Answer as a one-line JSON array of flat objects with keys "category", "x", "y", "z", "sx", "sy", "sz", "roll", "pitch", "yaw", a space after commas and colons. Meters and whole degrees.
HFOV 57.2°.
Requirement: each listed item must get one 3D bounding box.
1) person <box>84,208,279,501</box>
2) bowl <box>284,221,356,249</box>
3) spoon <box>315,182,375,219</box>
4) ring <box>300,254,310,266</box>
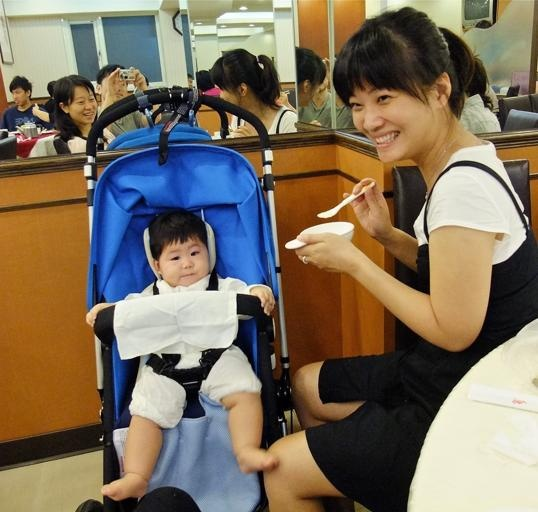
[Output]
[{"category": "person", "x": -0.262, "y": 0.243, "z": 1.497, "sx": 0.509, "sy": 0.858, "sz": 0.595, "roll": 2, "pitch": -16, "yaw": -22}, {"category": "bowl", "x": 0.156, "y": -0.066, "z": 1.523, "sx": 0.133, "sy": 0.035, "sz": 0.084, "roll": -32, "pitch": 34, "yaw": -32}, {"category": "spoon", "x": 0.278, "y": -0.211, "z": 1.819, "sx": 0.283, "sy": 0.044, "sz": 0.041, "roll": -46, "pitch": 10, "yaw": -27}, {"category": "ring", "x": 0.102, "y": 0.008, "z": 1.359, "sx": 0.027, "sy": 0.016, "sz": 0.038, "roll": 2, "pitch": -10, "yaw": 3}]
